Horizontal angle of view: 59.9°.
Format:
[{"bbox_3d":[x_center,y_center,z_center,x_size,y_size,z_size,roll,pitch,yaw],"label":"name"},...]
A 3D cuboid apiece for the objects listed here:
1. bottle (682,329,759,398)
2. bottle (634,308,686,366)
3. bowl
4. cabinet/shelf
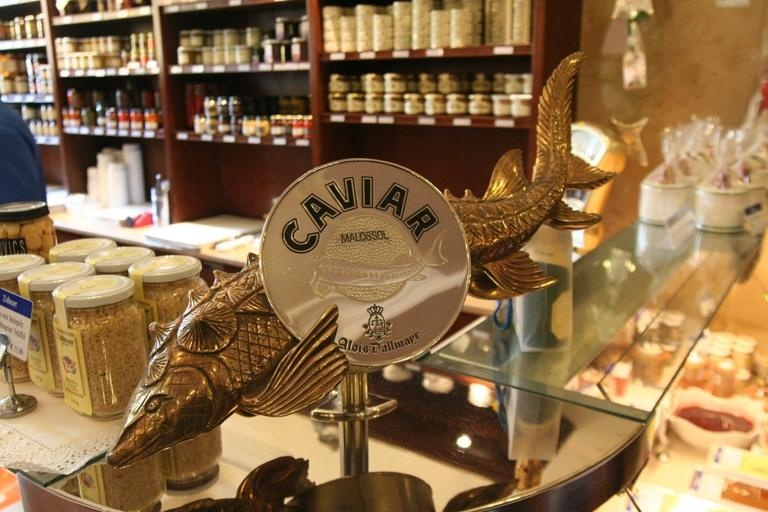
[{"bbox_3d":[0.940,0.264,1.829,0.167,0.065,0.217,8,18,30],"label":"bottle"},{"bbox_3d":[0.725,0.212,1.733,0.060,0.129,0.129,38,-17,-21],"label":"bottle"},{"bbox_3d":[0.849,0.422,1.710,0.165,0.069,0.145,0,6,16],"label":"bowl"},{"bbox_3d":[-0.050,-0.004,1.462,1.199,0.824,0.385,-11,17,-31],"label":"cabinet/shelf"}]
